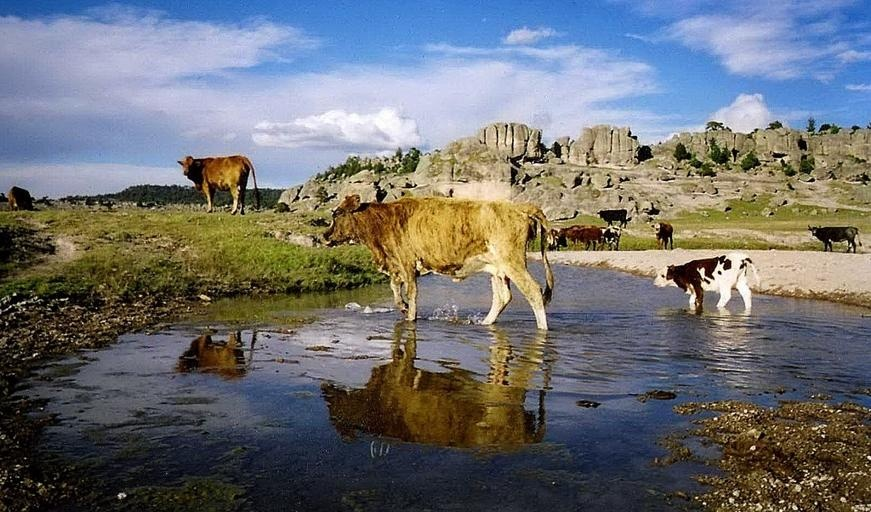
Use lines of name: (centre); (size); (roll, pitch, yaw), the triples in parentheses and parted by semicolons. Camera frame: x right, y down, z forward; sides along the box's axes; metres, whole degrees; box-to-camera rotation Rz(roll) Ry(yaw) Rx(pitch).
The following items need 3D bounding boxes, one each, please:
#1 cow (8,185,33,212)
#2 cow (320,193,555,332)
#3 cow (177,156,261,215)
cow: (-23.726, -3.368, 33.330); (0.461, 1.138, 1.712); (1, 7, -9)
cow: (0.289, 0.068, 16.451); (5.959, 3.479, 1.439); (3, 8, 12)
cow: (-13.205, -4.365, 35.137); (6.119, 3.303, 1.726); (4, 5, 25)
